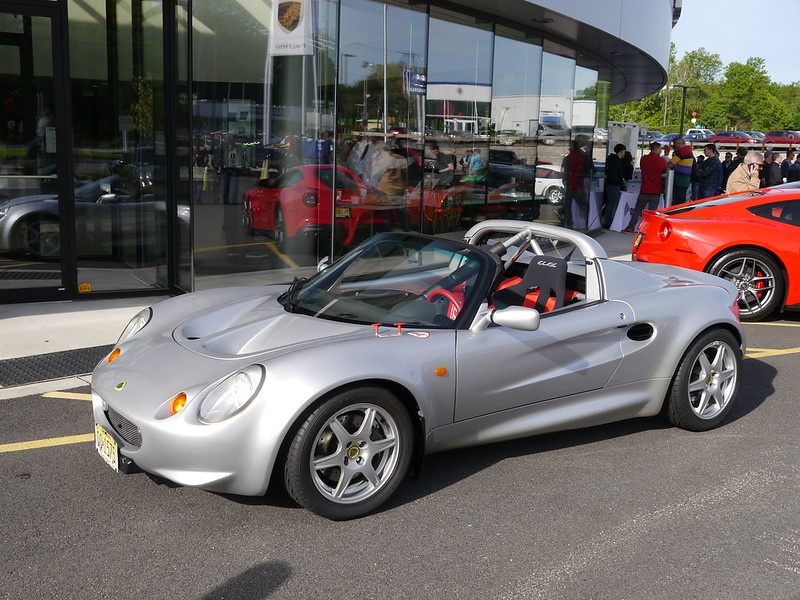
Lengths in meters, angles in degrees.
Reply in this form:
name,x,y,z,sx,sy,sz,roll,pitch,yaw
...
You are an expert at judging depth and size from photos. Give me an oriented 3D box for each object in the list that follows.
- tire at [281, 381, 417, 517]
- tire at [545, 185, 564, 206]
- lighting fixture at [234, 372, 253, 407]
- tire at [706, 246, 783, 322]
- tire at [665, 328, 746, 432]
name,x,y,z,sx,sy,sz,roll,pitch,yaw
tire,-0.324,0.873,3.427,0.646,0.720,0.214,15,-4,-24
tire,3.922,-2.718,14.798,0.472,0.526,0.173,11,2,-30
lighting fixture,-0.879,0.507,3.276,0.104,0.166,0.037,5,-13,12
tire,4.369,-0.261,7.311,0.774,0.885,0.322,-13,1,7
tire,2.498,0.654,4.799,0.724,0.805,0.224,-7,11,-36
